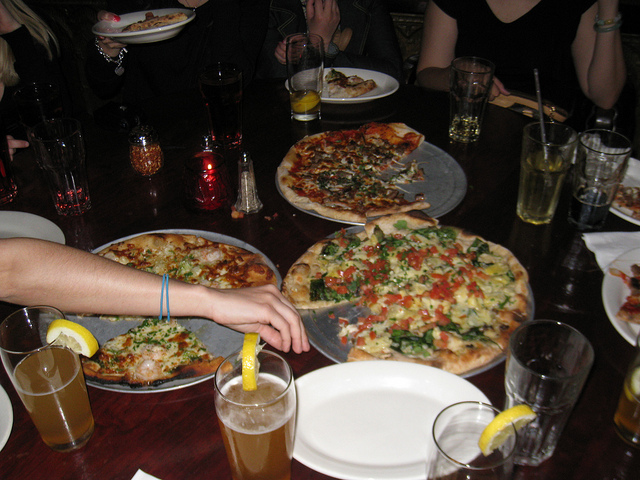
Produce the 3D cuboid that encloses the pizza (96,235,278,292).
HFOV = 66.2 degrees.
[{"bbox_3d":[-0.560,0.093,2.204,0.467,0.052,0.348,14,34,9],"label":"pizza"}]

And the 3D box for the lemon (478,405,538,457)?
[{"bbox_3d":[0.518,0.518,1.357,0.191,0.059,0.088,-24,83,-12],"label":"lemon"}]

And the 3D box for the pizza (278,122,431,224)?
[{"bbox_3d":[0.156,-0.380,2.783,0.671,0.076,0.715,1,40,6],"label":"pizza"}]

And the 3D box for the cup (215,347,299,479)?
[{"bbox_3d":[-0.181,0.521,1.489,0.228,0.376,0.299,-5,33,-2],"label":"cup"}]

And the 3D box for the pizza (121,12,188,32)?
[{"bbox_3d":[-0.965,-1.287,2.915,0.376,0.061,0.524,-19,36,-23],"label":"pizza"}]

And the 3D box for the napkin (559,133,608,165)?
[{"bbox_3d":[1.251,-0.463,2.361,0.214,0.164,0.167,4,47,23],"label":"napkin"}]

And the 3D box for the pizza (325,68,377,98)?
[{"bbox_3d":[0.192,-1.118,3.465,0.349,0.110,0.384,-18,36,-21],"label":"pizza"}]

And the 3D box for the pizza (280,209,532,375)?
[{"bbox_3d":[0.398,0.203,2.039,0.675,0.078,0.669,17,39,19],"label":"pizza"}]

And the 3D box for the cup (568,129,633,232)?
[{"bbox_3d":[1.313,-0.296,2.336,0.219,0.384,0.403,15,38,26],"label":"cup"}]

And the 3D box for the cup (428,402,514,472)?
[{"bbox_3d":[0.424,0.578,1.380,0.217,0.225,0.205,-2,33,2],"label":"cup"}]

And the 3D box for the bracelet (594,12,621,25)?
[{"bbox_3d":[2.071,-1.591,3.526,0.149,0.075,0.199,13,37,23],"label":"bracelet"}]

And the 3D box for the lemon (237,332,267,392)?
[{"bbox_3d":[-0.206,0.361,1.457,0.046,0.145,0.124,0,34,6],"label":"lemon"}]

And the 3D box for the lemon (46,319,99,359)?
[{"bbox_3d":[-0.867,0.335,1.708,0.203,0.060,0.102,11,83,16],"label":"lemon"}]
